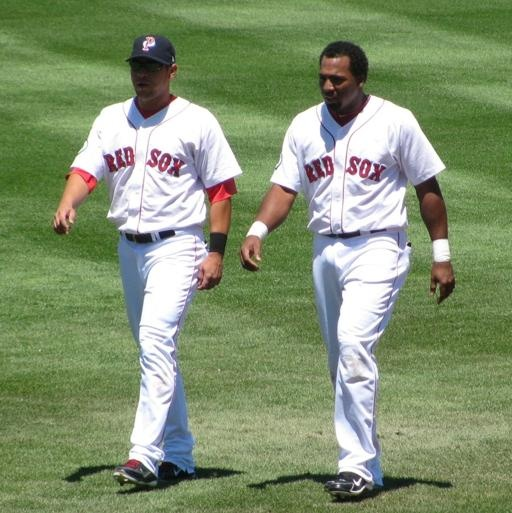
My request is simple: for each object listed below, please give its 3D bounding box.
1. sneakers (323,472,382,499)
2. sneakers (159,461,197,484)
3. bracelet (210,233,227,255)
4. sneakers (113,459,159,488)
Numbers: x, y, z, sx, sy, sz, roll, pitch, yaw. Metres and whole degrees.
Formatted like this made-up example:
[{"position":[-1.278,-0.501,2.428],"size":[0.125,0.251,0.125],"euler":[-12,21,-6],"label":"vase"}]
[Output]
[{"position":[0.596,1.385,7.574],"size":[0.357,0.169,0.125],"euler":[12,-22,-35],"label":"sneakers"},{"position":[-0.509,1.402,8.052],"size":[0.243,0.088,0.208],"euler":[7,17,-7],"label":"sneakers"},{"position":[-0.229,-0.072,8.179],"size":[0.128,0.140,0.128],"euler":[5,-16,2],"label":"bracelet"},{"position":[-0.740,1.369,7.739],"size":[0.286,0.162,0.123],"euler":[24,-21,-18],"label":"sneakers"}]
